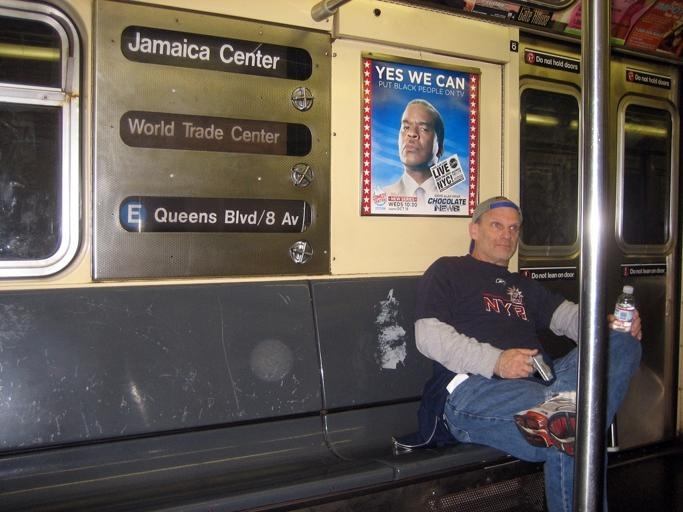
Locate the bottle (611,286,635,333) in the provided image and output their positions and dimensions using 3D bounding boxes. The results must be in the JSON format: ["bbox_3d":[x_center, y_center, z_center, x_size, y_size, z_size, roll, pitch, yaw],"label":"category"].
[{"bbox_3d":[1.446,0.241,2.989,0.095,0.236,0.395,8,17,27],"label":"bottle"}]

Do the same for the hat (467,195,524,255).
[{"bbox_3d":[0.928,-0.233,3.655,0.266,0.391,0.196,5,9,-2],"label":"hat"}]
